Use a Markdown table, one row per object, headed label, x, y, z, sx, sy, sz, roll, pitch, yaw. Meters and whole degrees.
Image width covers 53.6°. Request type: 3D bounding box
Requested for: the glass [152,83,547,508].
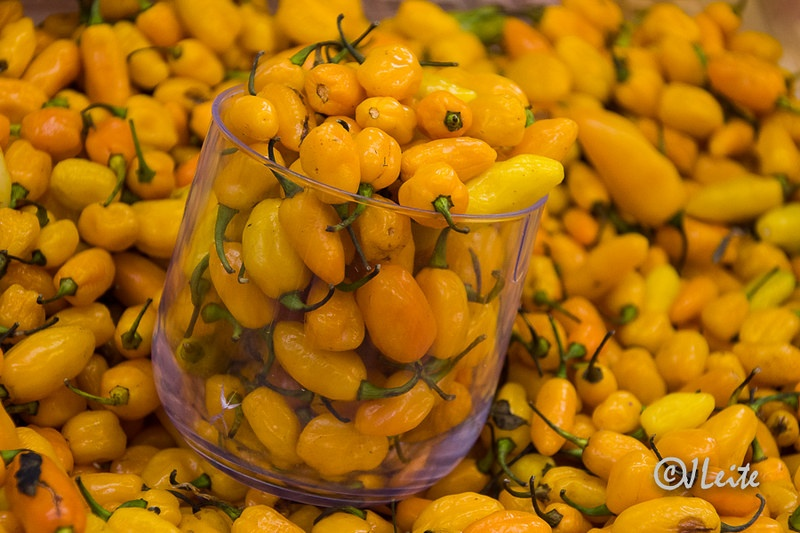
| label | x | y | z | sx | sy | sz | roll | pitch | yaw |
| --- | --- | --- | --- | --- | --- | --- | --- | --- | --- |
| glass | -0.118 | 0.032 | 1.699 | 0.733 | 0.754 | 0.749 | 8 | -67 | -20 |
